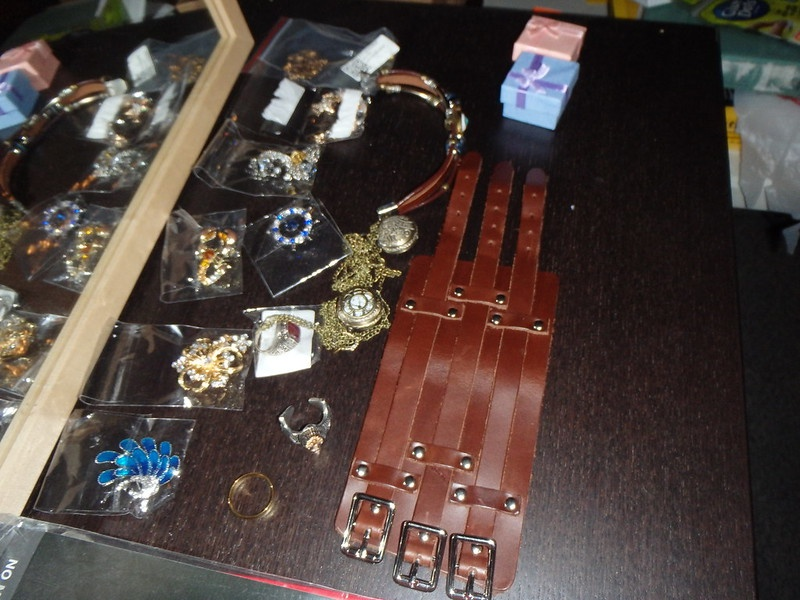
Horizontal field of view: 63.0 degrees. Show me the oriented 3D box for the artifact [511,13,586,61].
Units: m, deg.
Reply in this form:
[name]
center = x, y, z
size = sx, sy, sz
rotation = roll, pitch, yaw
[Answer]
[artifact]
center = 0.475, -0.783, 2.043
size = 0.165, 0.063, 0.179
rotation = 16, 64, 15
